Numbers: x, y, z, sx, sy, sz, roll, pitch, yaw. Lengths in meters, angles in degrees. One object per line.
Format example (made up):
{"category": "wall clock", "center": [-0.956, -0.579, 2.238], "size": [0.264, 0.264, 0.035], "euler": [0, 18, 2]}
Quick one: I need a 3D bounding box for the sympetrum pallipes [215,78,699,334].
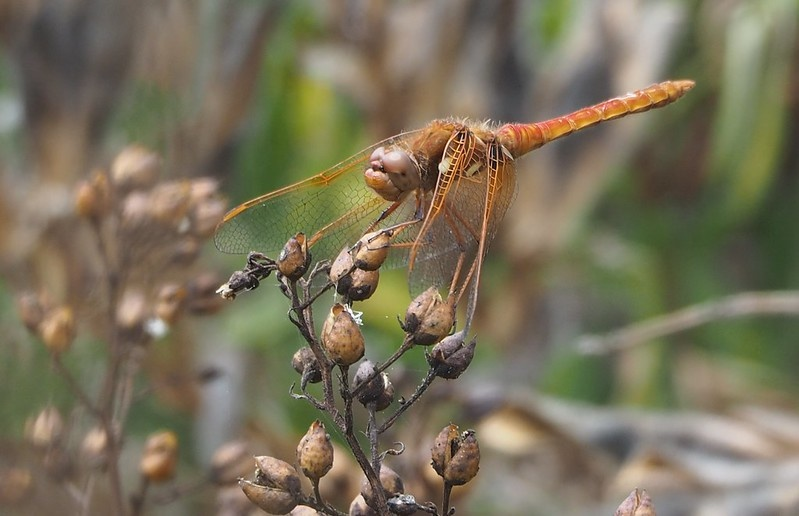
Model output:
{"category": "sympetrum pallipes", "center": [0.019, -0.119, 2.351], "size": [0.543, 0.410, 0.202], "euler": [-31, 55, -2]}
